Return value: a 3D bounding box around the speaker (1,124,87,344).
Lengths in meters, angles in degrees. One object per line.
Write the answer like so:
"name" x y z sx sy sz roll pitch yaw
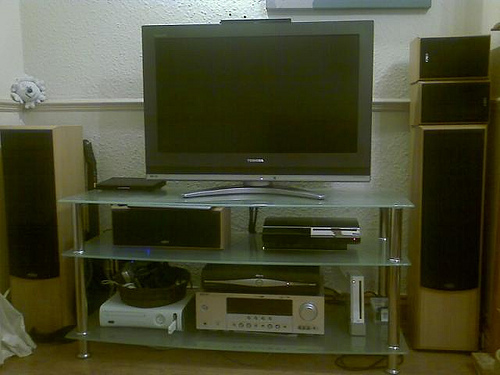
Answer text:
"speaker" -1.086 0.248 2.558 0.422 1.163 0.235 -4 6 -19

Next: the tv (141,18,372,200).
"tv" 0.051 -0.420 2.433 0.971 0.721 0.159 0 5 5

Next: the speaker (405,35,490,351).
"speaker" 0.984 0.048 2.350 0.342 1.553 0.150 0 6 26
